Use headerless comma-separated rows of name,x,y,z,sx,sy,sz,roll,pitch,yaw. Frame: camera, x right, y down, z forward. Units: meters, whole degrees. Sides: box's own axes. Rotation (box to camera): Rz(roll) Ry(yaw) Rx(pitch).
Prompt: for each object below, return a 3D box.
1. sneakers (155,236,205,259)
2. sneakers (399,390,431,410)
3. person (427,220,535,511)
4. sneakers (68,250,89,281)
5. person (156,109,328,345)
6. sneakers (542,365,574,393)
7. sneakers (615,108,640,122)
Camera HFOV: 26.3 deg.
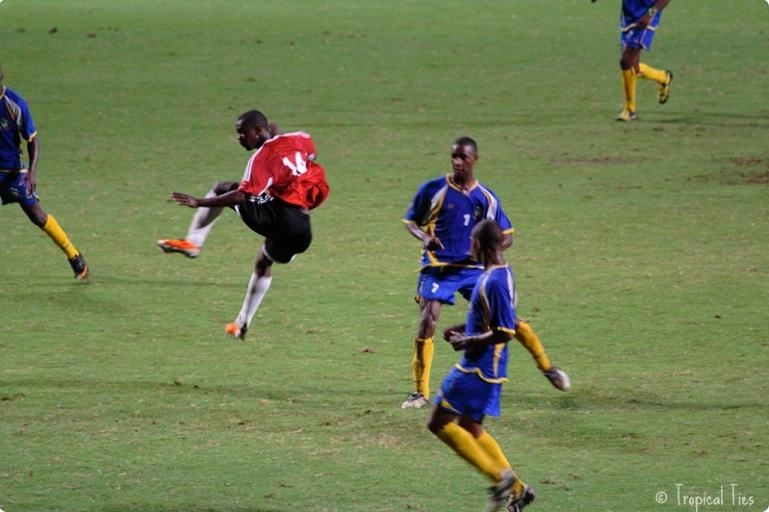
sneakers,-2.627,-0.104,21.061,0.470,0.129,0.262,14,-1,-21
sneakers,0.380,1.750,19.899,0.323,0.106,0.347,-1,3,3
person,1.099,1.244,18.364,1.133,3.235,0.907,-1,13,-1
sneakers,-4.121,0.126,22.495,0.215,0.416,0.230,-28,21,-9
person,-1.571,-0.377,20.820,1.717,2.876,1.073,-1,13,-4
sneakers,1.961,1.414,18.831,0.280,0.296,0.254,0,11,2
sneakers,4.103,-2.375,28.025,0.463,0.144,0.166,-5,20,-17
